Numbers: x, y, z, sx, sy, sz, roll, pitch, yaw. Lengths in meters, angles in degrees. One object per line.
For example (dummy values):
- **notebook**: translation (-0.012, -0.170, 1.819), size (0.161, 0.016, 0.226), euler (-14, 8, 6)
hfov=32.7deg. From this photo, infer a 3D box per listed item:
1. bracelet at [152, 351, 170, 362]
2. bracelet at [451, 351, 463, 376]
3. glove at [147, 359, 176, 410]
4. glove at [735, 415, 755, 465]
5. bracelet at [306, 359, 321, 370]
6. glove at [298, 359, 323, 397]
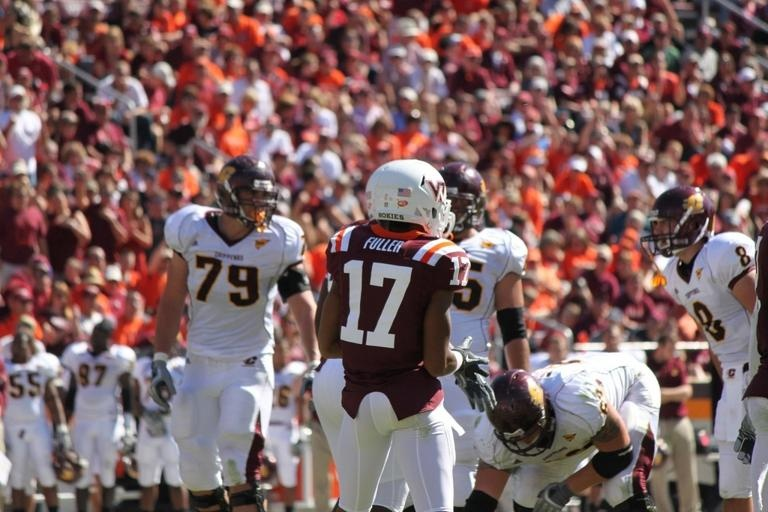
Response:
- **bracelet**: translation (-2.037, 0.930, 12.065), size (0.089, 0.067, 0.093), euler (9, -14, -11)
- **bracelet**: translation (0.634, 0.915, 11.202), size (0.145, 0.174, 0.129), euler (-9, 11, -32)
- **glove**: translation (-2.031, 1.187, 12.076), size (0.235, 0.432, 0.561), euler (2, 0, -10)
- **glove**: translation (3.209, 1.644, 11.714), size (0.138, 0.374, 0.291), euler (3, -14, 43)
- **bracelet**: translation (-0.648, 0.990, 12.135), size (0.086, 0.119, 0.106), euler (4, 1, -3)
- **glove**: translation (-0.683, 1.124, 12.081), size (0.153, 0.321, 0.226), euler (11, 1, -10)
